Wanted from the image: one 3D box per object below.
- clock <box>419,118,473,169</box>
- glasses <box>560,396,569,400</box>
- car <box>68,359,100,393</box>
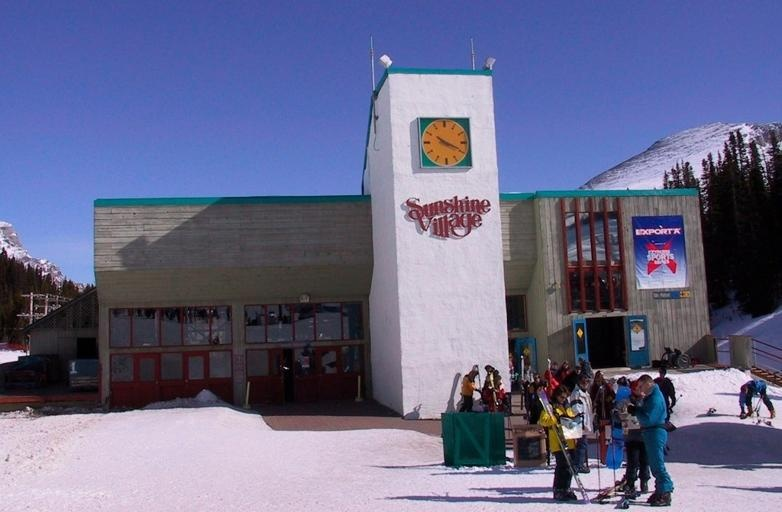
[{"bbox_3d":[2.320,-4.932,34.106,2.289,2.211,0.182,1,-8,-10],"label":"clock"},{"bbox_3d":[5.326,4.387,23.550,0.142,0.143,0.182,0,8,-11],"label":"glasses"},{"bbox_3d":[-15.299,5.955,38.093,1.324,1.219,2.189,1,-2,-22],"label":"car"}]
